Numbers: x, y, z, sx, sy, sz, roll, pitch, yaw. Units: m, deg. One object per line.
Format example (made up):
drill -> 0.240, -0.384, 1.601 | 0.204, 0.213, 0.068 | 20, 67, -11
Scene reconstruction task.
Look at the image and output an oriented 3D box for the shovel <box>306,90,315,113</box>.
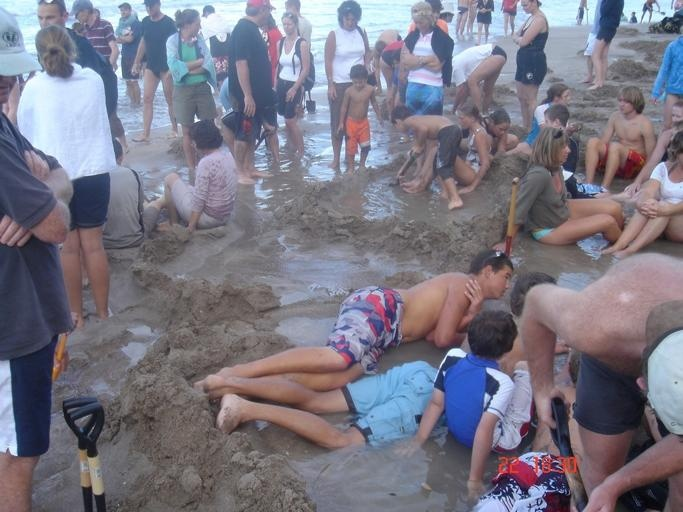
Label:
shovel -> -0.576, -2.886, 12.016 | 0.141, 0.469, 0.173 | -1, 51, -3
